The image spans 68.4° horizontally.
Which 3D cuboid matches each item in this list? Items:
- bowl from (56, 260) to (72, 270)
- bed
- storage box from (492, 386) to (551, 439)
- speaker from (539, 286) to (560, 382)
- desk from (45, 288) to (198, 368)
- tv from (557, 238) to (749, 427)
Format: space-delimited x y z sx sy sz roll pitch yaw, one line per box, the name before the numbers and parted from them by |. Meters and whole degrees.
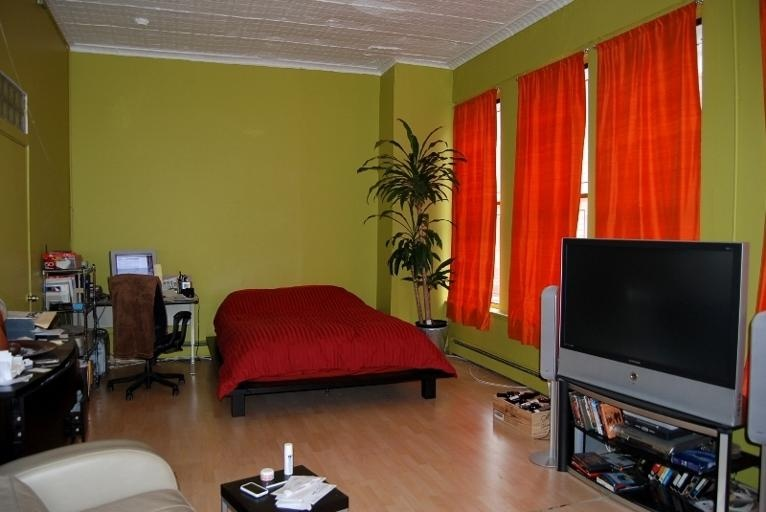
bowl | -3.125 0.078 5.525 0.140 0.139 0.076 3 -3 -28
bed | -0.632 0.921 6.120 2.226 0.849 1.838 -2 9 -16
storage box | 1.298 1.370 5.079 0.393 0.300 0.596 -6 11 -33
speaker | 1.304 0.615 4.425 0.146 0.747 0.181 3 10 16
desk | -2.665 1.001 6.469 1.484 1.001 0.768 0 1 -13
tv | 1.898 0.536 3.884 1.336 1.242 0.136 2 3 43
